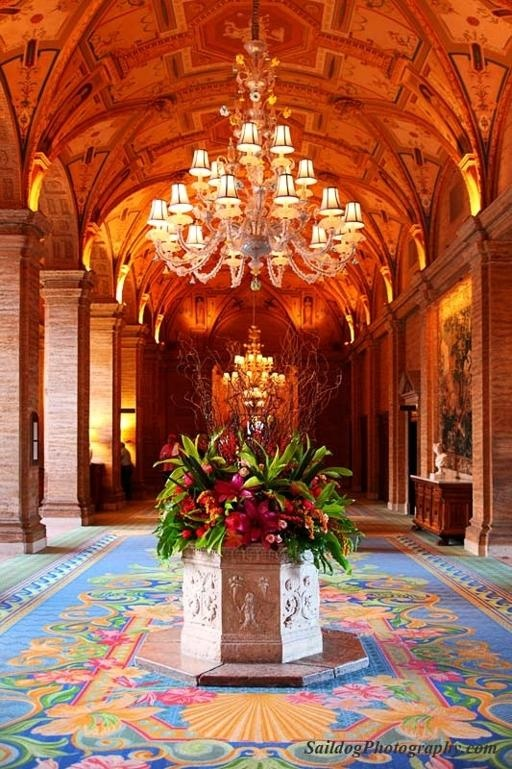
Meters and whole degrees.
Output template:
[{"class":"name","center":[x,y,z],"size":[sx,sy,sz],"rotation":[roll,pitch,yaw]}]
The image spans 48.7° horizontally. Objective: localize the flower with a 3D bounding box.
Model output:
[{"class":"flower","center":[-0.038,0.593,3.294],"size":[0.975,0.594,0.944],"rotation":[2,-2,-3]}]

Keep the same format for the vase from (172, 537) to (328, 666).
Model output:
[{"class":"vase","center":[-0.047,1.237,3.269],"size":[0.818,0.565,0.802],"rotation":[9,-17,-29]}]

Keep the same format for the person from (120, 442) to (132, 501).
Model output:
[{"class":"person","center":[-3.741,2.574,16.486],"size":[0.312,1.678,0.883],"rotation":[1,-6,-12]}]

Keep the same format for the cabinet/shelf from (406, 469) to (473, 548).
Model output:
[{"class":"cabinet/shelf","center":[3.002,2.071,9.201],"size":[0.566,0.751,1.570],"rotation":[1,-5,2]}]
